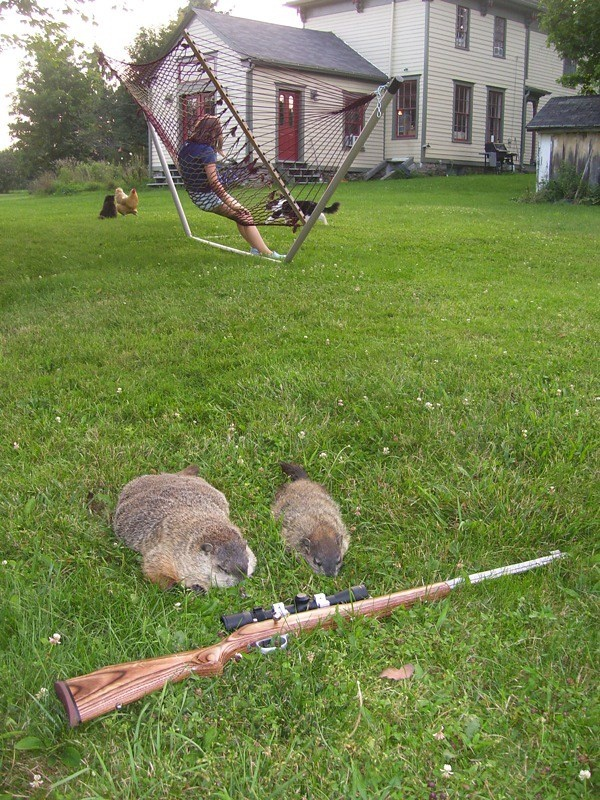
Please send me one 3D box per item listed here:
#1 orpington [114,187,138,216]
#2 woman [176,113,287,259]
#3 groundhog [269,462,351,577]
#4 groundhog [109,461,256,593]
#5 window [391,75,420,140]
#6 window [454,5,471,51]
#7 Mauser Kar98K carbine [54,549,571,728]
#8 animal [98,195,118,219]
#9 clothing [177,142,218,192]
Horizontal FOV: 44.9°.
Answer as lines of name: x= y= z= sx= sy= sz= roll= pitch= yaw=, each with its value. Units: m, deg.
orpington: x=-3.173 y=-3.672 z=13.486 sx=0.293 sy=0.493 sz=0.881 roll=-7 pitch=6 yaw=-18
woman: x=-0.704 y=-2.537 z=8.218 sx=0.963 sy=1.866 sz=1.031 roll=-10 pitch=24 yaw=-34
groundhog: x=0.055 y=0.512 z=3.214 sx=0.336 sy=0.258 sz=0.799 roll=-6 pitch=20 yaw=-18
groundhog: x=-0.499 y=0.549 z=3.040 sx=0.340 sy=0.237 sz=0.715 roll=-9 pitch=21 yaw=-27
window: x=3.555 y=-9.703 z=24.159 sx=0.430 sy=1.909 sz=1.119 roll=-11 pitch=20 yaw=-34
window: x=5.364 y=-12.515 z=24.186 sx=0.210 sy=1.989 sz=1.077 roll=9 pitch=21 yaw=38
Mauser Kar98K carbine: x=0.109 y=0.752 z=2.424 sx=1.724 sy=0.357 sz=0.155 roll=-10 pitch=25 yaw=-11
animal: x=-3.536 y=-3.492 z=13.287 sx=0.232 sy=0.380 sz=0.745 roll=-2 pitch=9 yaw=-2
clothing: x=-1.116 y=-2.596 z=8.013 sx=0.328 sy=0.583 sz=0.590 roll=-4 pitch=13 yaw=-43
